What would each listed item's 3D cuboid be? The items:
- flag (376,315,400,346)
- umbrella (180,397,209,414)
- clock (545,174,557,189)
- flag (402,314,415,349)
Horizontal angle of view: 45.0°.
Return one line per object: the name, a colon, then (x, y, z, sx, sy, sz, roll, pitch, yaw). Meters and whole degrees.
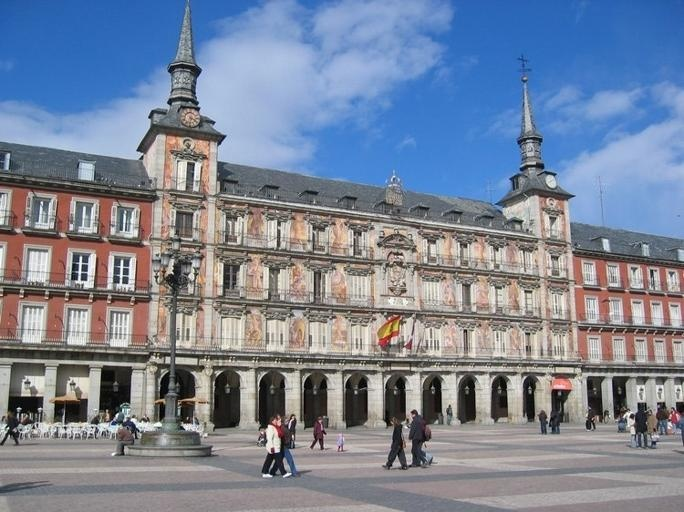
flag: (3.908, 6.364, 72.333, 2.242, 2.926, 0.476, 12, 3, 35)
umbrella: (-11.572, 11.636, 64.897, 2.381, 0.795, 2.470, 3, -26, -3)
clock: (21.371, -7.745, 84.764, 1.341, 1.603, 0.238, 4, -13, -23)
flag: (6.036, 6.808, 74.138, 1.096, 2.908, 1.721, -5, -13, 16)
